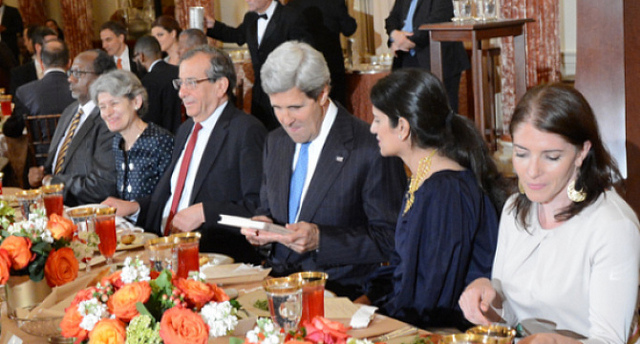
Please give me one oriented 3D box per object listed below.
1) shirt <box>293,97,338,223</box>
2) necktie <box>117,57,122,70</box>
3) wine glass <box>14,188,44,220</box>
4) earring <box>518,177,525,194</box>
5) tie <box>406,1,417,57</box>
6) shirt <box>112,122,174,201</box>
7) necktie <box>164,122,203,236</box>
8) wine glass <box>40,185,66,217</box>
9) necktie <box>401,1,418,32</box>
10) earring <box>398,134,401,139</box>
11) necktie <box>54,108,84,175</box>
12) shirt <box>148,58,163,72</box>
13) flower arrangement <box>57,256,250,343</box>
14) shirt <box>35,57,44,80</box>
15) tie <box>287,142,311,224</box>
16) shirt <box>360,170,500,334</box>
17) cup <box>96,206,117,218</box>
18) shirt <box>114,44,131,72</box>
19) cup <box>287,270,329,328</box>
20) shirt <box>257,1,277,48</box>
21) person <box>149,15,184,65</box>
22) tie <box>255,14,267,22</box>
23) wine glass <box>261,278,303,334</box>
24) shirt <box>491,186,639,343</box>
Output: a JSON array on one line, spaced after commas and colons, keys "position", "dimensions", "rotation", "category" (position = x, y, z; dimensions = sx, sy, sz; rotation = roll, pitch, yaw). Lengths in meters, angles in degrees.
[{"position": [-0.019, -0.074, 3.762], "dimensions": [0.263, 0.913, 0.127], "rotation": [20, 7, 37], "category": "shirt"}, {"position": [-3.459, -1.896, 8.783], "dimensions": [0.064, 0.162, 0.177], "rotation": [-2, 11, -22], "category": "necktie"}, {"position": [-1.961, 0.249, 3.426], "dimensions": [0.186, 0.214, 0.189], "rotation": [-3, 2, 42], "category": "wine glass"}, {"position": [1.158, 0.083, 2.922], "dimensions": [0.015, 0.066, 0.068], "rotation": [-19, 22, 2], "category": "earring"}, {"position": [1.088, -1.750, 6.077], "dimensions": [0.078, 0.805, 0.077], "rotation": [6, -16, 13], "category": "tie"}, {"position": [-1.585, -0.089, 4.561], "dimensions": [0.576, 0.745, 0.398], "rotation": [8, 1, 40], "category": "shirt"}, {"position": [-1.126, 0.062, 4.287], "dimensions": [0.114, 0.980, 0.090], "rotation": [11, -3, 35], "category": "necktie"}, {"position": [-1.861, 0.221, 3.551], "dimensions": [0.173, 0.235, 0.173], "rotation": [-4, -3, -43], "category": "wine glass"}, {"position": [1.082, -1.870, 6.061], "dimensions": [0.215, 0.301, 0.107], "rotation": [11, 15, 19], "category": "necktie"}, {"position": [0.505, -0.228, 3.218], "dimensions": [0.016, 0.017, 0.003], "rotation": [4, 10, 9], "category": "earring"}, {"position": [-2.682, -0.302, 5.431], "dimensions": [0.107, 0.804, 0.091], "rotation": [1, -28, 35], "category": "necktie"}, {"position": [-2.392, -1.573, 7.385], "dimensions": [0.180, 0.191, 0.418], "rotation": [-1, 11, -17], "category": "shirt"}, {"position": [-0.741, 0.606, 2.233], "dimensions": [0.447, 0.231, 0.495], "rotation": [1, 3, 28], "category": "flower arrangement"}, {"position": [-4.925, -1.826, 8.875], "dimensions": [0.094, 0.353, 0.463], "rotation": [-4, 12, -31], "category": "shirt"}, {"position": [-0.140, -0.008, 3.678], "dimensions": [0.101, 0.765, 0.033], "rotation": [3, -15, 28], "category": "tie"}, {"position": [0.714, 0.357, 3.480], "dimensions": [0.799, 0.895, 0.929], "rotation": [4, 16, 5], "category": "shirt"}, {"position": [-1.322, 0.240, 3.155], "dimensions": [0.109, 0.097, 0.124], "rotation": [0, -6, 7], "category": "cup"}, {"position": [-3.466, -2.031, 8.903], "dimensions": [0.261, 0.431, 0.267], "rotation": [-2, 11, -23], "category": "shirt"}, {"position": [-0.037, 0.592, 2.421], "dimensions": [0.234, 0.292, 0.223], "rotation": [0, -1, 0], "category": "cup"}, {"position": [-0.734, -1.962, 6.742], "dimensions": [0.124, 0.494, 0.340], "rotation": [14, 12, 39], "category": "shirt"}, {"position": [-2.370, -2.062, 7.899], "dimensions": [0.481, 0.794, 0.448], "rotation": [19, 39, 39], "category": "person"}, {"position": [-0.776, -2.049, 6.684], "dimensions": [0.043, 0.068, 0.223], "rotation": [-7, 14, -43], "category": "tie"}, {"position": [-0.158, 0.595, 2.302], "dimensions": [0.204, 0.268, 0.210], "rotation": [-1, -1, -1], "category": "wine glass"}, {"position": [1.327, 0.512, 2.705], "dimensions": [0.392, 0.672, 0.664], "rotation": [15, -4, -44], "category": "shirt"}]
